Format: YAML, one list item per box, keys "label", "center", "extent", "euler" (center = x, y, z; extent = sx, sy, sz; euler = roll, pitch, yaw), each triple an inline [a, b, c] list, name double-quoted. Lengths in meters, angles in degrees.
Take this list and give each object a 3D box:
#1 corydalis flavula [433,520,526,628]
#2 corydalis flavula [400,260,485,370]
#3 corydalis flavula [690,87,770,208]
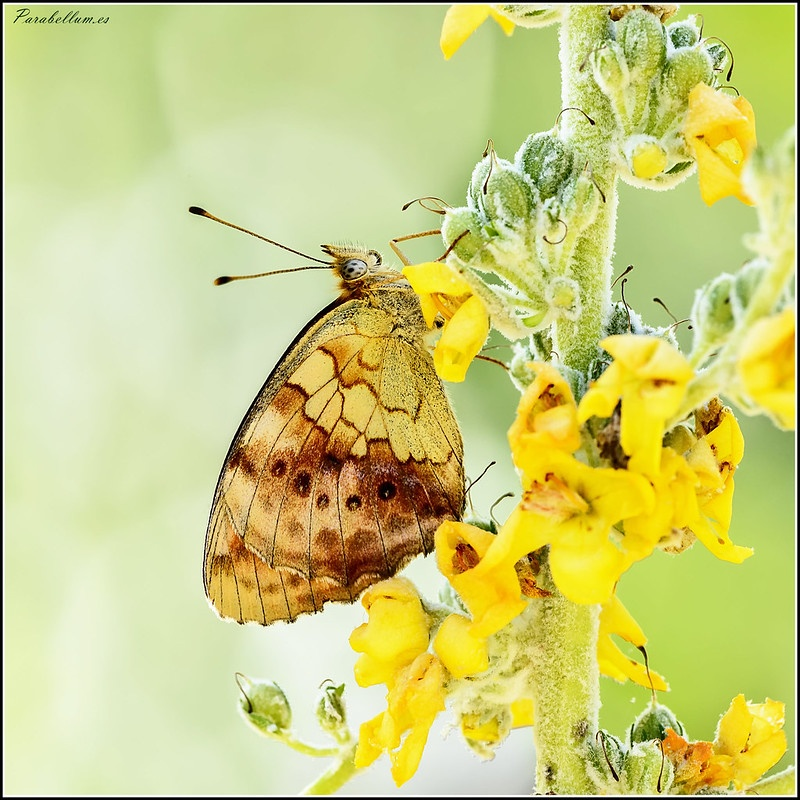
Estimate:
- label: "corydalis flavula"
  center: [0.223, 0.504, 3.225]
  extent: [0.195, 0.320, 0.122]
  euler: [-27, -43, -7]
- label: "corydalis flavula"
  center: [0.156, -0.247, 3.400]
  extent: [0.136, 0.323, 0.297]
  euler: [-15, -14, -4]
- label: "corydalis flavula"
  center: [0.936, -0.766, 3.337]
  extent: [0.275, 0.135, 0.395]
  euler: [-7, -75, -36]
